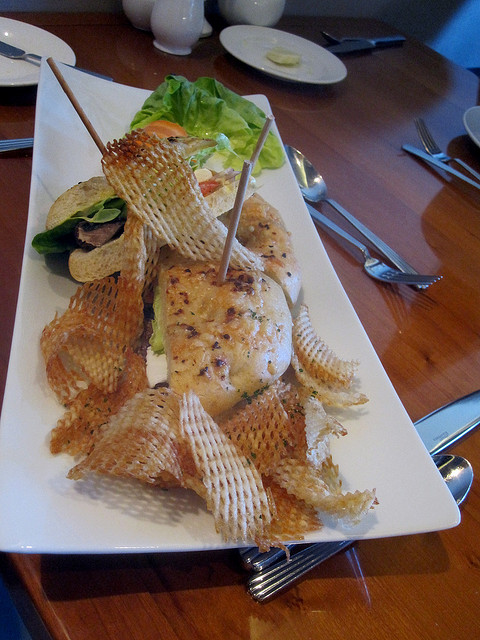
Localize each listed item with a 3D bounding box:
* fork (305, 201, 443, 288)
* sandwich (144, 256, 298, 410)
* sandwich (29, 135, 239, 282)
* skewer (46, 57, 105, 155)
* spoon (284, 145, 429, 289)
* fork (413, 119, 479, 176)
[{"bbox_3d":[0.317,-0.178,1.419,0.391,0.052,0.052,36,46,26],"label":"fork"},{"bbox_3d":[-0.032,-0.005,0.980,0.244,0.211,0.317,4,45,-8],"label":"sandwich"},{"bbox_3d":[-0.267,-0.187,1.133,0.195,0.374,0.109,33,68,-22],"label":"sandwich"},{"bbox_3d":[-0.271,-0.354,0.959,0.013,0.159,0.016,-3,45,28],"label":"skewer"},{"bbox_3d":[0.285,-0.251,1.465,0.549,0.075,0.083,48,54,1],"label":"spoon"},{"bbox_3d":[0.693,-0.575,1.962,0.047,0.052,0.341,-20,63,-36],"label":"fork"}]
